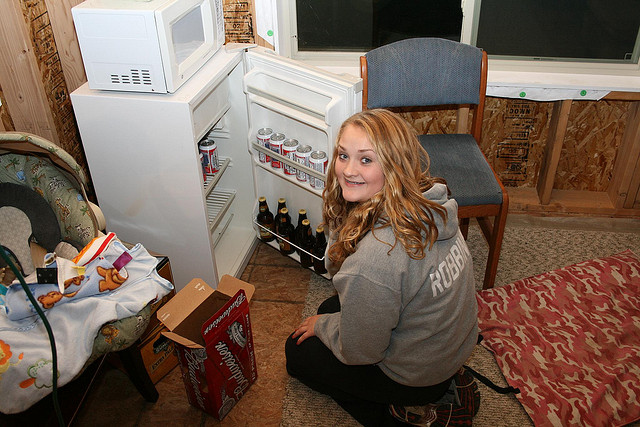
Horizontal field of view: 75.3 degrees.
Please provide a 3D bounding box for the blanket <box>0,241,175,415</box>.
[{"bbox_3d":[-0.870,0.363,1.547,0.603,0.446,0.317,-12,26,-24],"label":"blanket"}]

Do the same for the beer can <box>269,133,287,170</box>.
[{"bbox_3d":[-0.233,-0.353,2.326,0.104,0.185,0.102,-2,53,3],"label":"beer can"}]

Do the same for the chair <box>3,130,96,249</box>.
[{"bbox_3d":[-1.136,-0.086,1.721,0.283,0.358,0.366,-32,78,-23],"label":"chair"}]

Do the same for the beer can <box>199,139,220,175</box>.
[{"bbox_3d":[-0.638,-0.308,2.362,0.098,0.174,0.096,-2,19,1],"label":"beer can"}]

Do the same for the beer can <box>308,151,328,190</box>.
[{"bbox_3d":[-0.012,-0.222,2.226,0.104,0.203,0.108,-1,24,0],"label":"beer can"}]

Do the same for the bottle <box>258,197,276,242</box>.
[{"bbox_3d":[-0.355,0.040,2.659,0.118,0.293,0.115,-5,21,2],"label":"bottle"}]

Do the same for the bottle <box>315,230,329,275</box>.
[{"bbox_3d":[0.008,0.208,2.312,0.088,0.290,0.087,-2,47,2],"label":"bottle"}]

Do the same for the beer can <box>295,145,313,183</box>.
[{"bbox_3d":[-0.085,-0.276,2.241,0.110,0.185,0.108,-3,51,4],"label":"beer can"}]

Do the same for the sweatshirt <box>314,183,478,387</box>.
[{"bbox_3d":[0.349,0.325,1.677,0.650,0.835,0.350,-10,25,-19],"label":"sweatshirt"}]
